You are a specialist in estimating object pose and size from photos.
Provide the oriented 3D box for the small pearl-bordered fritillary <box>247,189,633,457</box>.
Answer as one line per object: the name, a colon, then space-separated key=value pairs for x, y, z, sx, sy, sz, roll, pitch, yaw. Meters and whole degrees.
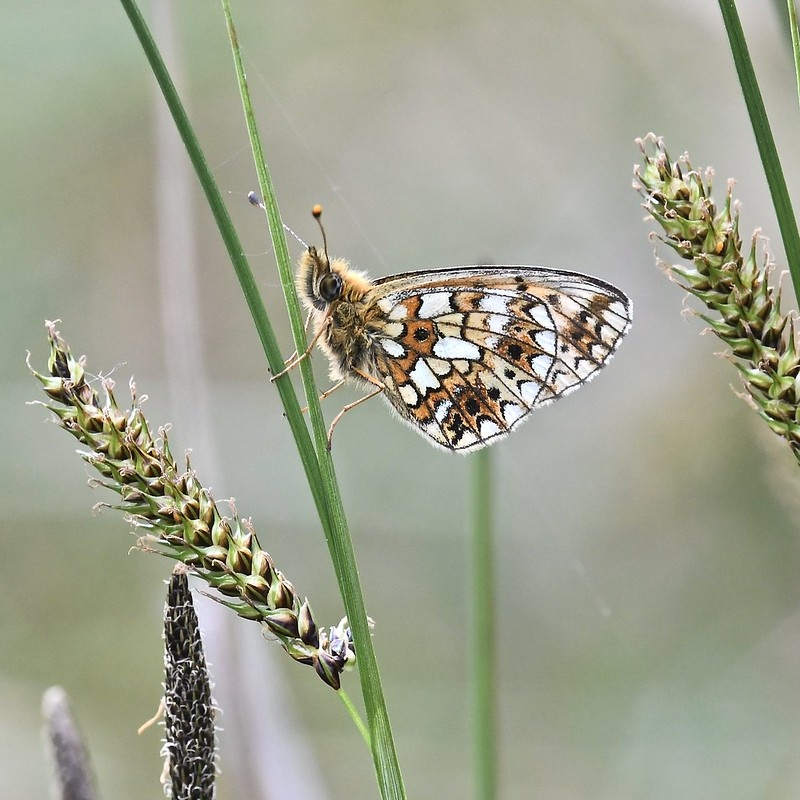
small pearl-bordered fritillary: x=0.033 y=-0.061 z=1.106 sx=0.299 sy=0.265 sz=0.179 roll=32 pitch=-107 yaw=-23
